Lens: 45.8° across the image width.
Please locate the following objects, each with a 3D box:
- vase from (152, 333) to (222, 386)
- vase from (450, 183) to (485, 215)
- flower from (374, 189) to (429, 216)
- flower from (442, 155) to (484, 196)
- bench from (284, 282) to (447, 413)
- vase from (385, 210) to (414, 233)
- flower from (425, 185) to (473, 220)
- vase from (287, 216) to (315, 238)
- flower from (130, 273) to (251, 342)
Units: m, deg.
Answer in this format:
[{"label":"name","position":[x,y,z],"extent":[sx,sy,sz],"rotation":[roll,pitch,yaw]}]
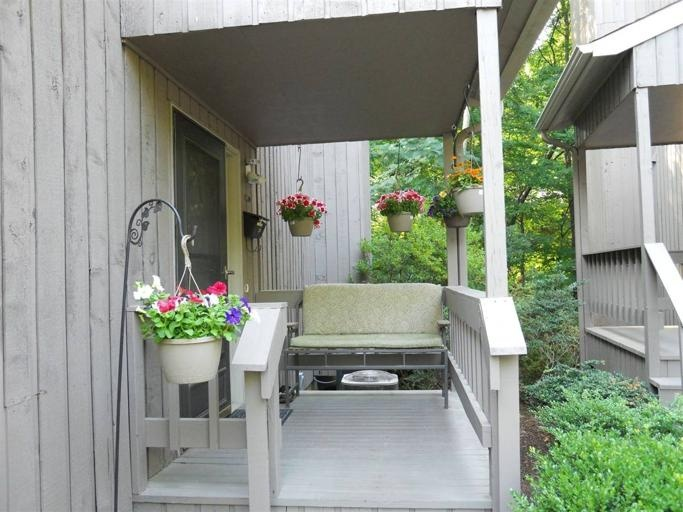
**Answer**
[{"label":"vase","position":[-0.957,0.621,5.106],"extent":[0.421,0.306,0.443],"rotation":[6,11,38]},{"label":"vase","position":[1.014,-0.435,6.419],"extent":[0.209,0.177,0.227],"rotation":[-1,-7,2]},{"label":"flower","position":[0.558,-0.505,7.619],"extent":[0.435,0.256,0.231],"rotation":[-2,-2,0]},{"label":"flower","position":[1.007,-0.639,6.573],"extent":[0.434,0.339,0.392],"rotation":[-5,3,-30]},{"label":"bench","position":[0.232,0.734,7.051],"extent":[1.313,1.049,0.851],"rotation":[0,-4,6]},{"label":"vase","position":[0.558,-0.312,7.658],"extent":[0.177,0.139,0.192],"rotation":[0,-8,-5]},{"label":"flower","position":[0.930,-0.466,7.219],"extent":[0.253,0.212,0.272],"rotation":[-2,-2,-5]},{"label":"vase","position":[-0.388,-0.276,7.728],"extent":[0.174,0.143,0.188],"rotation":[0,-2,4]},{"label":"flower","position":[-1.011,0.333,5.087],"extent":[0.858,0.414,0.497],"rotation":[-3,-2,29]}]
